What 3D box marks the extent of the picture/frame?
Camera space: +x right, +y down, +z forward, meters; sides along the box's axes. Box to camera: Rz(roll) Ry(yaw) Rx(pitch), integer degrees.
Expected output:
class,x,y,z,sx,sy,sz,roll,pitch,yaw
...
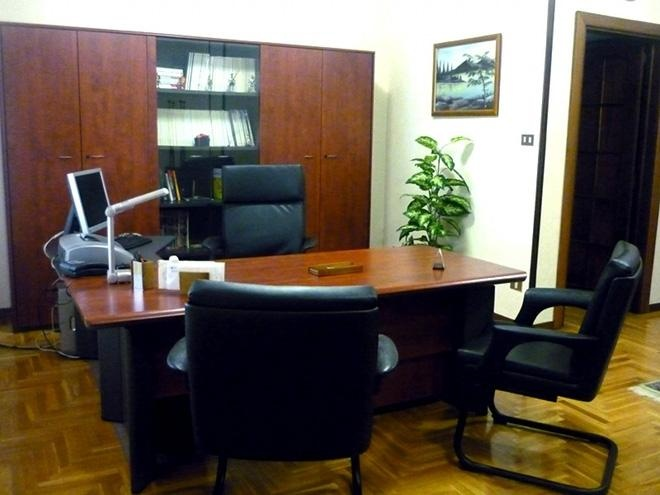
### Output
class,x,y,z,sx,sy,sz,roll,pitch,yaw
picture/frame,1.198,-1.498,4.750,0.058,0.786,0.781,-7,10,-39
